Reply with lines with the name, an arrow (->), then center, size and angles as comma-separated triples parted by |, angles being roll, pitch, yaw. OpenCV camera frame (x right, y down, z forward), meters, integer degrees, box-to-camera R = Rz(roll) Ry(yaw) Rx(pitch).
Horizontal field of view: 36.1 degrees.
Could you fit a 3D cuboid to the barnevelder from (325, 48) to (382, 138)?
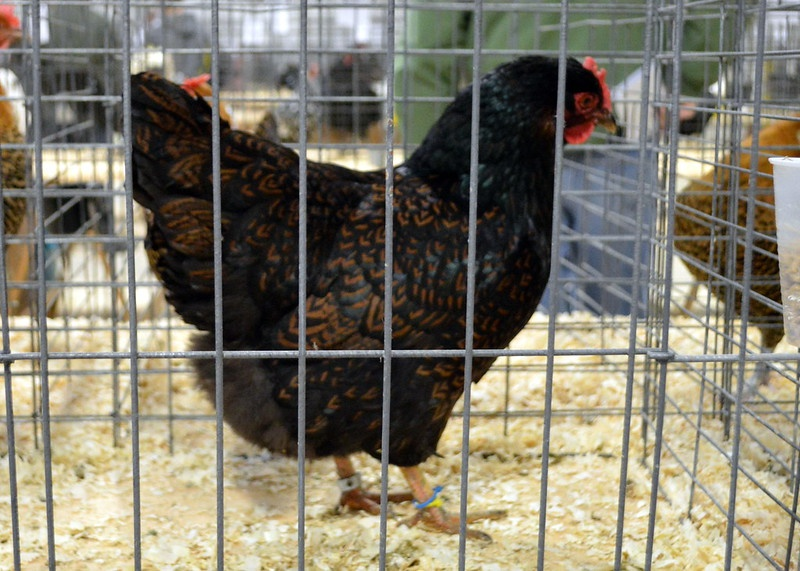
barnevelder -> -0.308, -1.355, 8.435 | 0.358, 0.674, 0.632 | 6, 32, -9
